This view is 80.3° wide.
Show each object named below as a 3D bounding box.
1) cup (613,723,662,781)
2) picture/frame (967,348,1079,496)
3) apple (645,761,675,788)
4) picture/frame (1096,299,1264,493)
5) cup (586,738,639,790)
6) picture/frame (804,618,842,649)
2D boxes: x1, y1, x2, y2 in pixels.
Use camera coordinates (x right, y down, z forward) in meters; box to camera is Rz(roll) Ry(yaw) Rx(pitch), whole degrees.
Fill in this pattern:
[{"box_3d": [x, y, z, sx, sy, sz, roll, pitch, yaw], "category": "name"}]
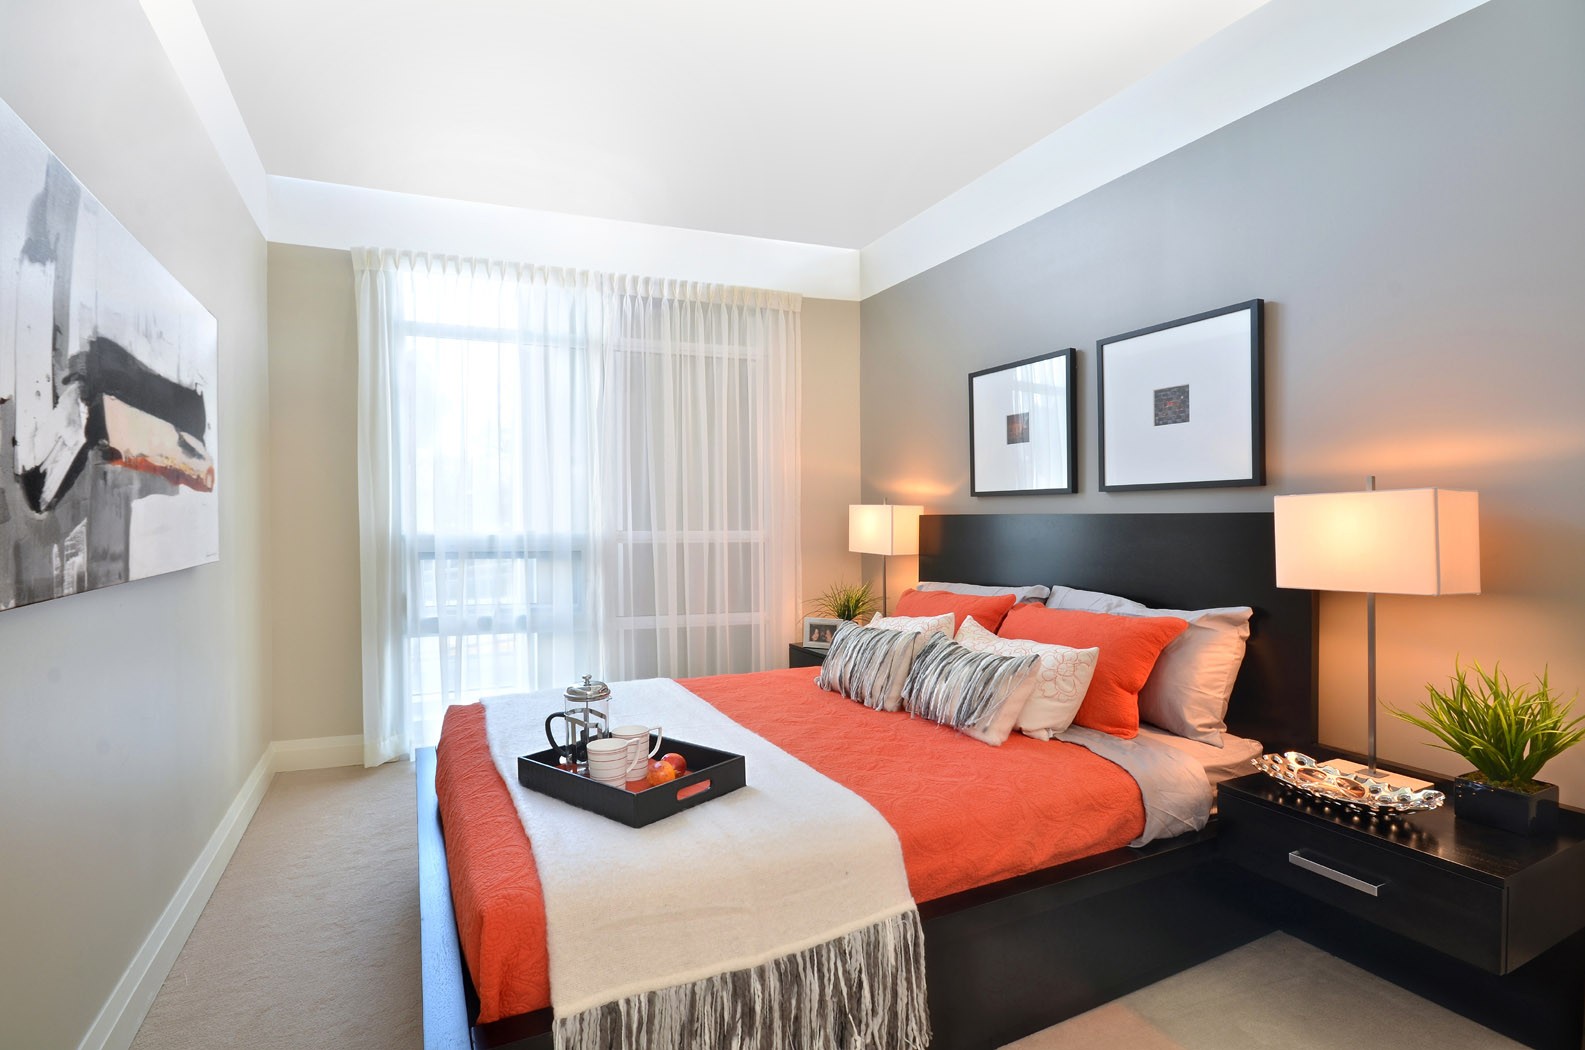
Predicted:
[{"box_3d": [-0.523, 0.773, 3.252, 0.187, 0.162, 0.115, 5, -7, -38], "category": "cup"}, {"box_3d": [1.176, -0.491, 4.897, 0.791, 0.739, 0.080, -14, 15, -35], "category": "picture/frame"}, {"box_3d": [-0.448, 0.826, 3.128, 0.087, 0.067, 0.062, 1, 39, -20], "category": "apple"}, {"box_3d": [1.730, -0.573, 4.119, 0.065, 0.955, 0.924, 2, -3, -36], "category": "picture/frame"}, {"box_3d": [-0.603, 0.786, 3.112, 0.170, 0.124, 0.127, 2, -3, -23], "category": "cup"}, {"box_3d": [0.168, 0.633, 5.506, 0.240, 0.170, 0.019, 1, -29, 15], "category": "picture/frame"}]
